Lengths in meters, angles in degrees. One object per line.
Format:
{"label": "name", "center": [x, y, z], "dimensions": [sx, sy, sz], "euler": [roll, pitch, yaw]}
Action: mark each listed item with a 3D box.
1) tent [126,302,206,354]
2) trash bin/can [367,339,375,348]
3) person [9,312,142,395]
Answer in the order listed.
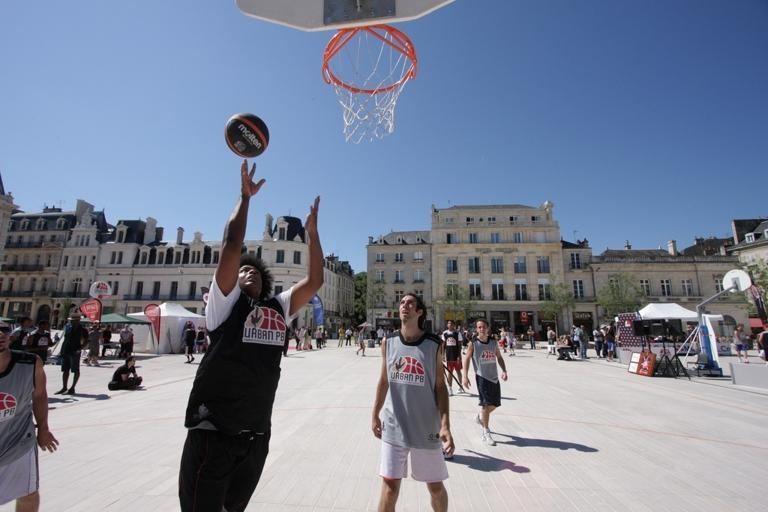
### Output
{"label": "tent", "center": [-13.994, 4.201, 25.008], "dimensions": [4.452, 3.438, 4.551], "euler": [-5, -24, 5]}
{"label": "trash bin/can", "center": [-1.254, 8.070, 34.877], "dimensions": [0.638, 0.616, 0.654], "euler": [1, -11, -2]}
{"label": "person", "center": [-9.413, 2.853, 11.440], "dimensions": [0.684, 2.219, 1.186], "euler": [-15, -17, 27]}
